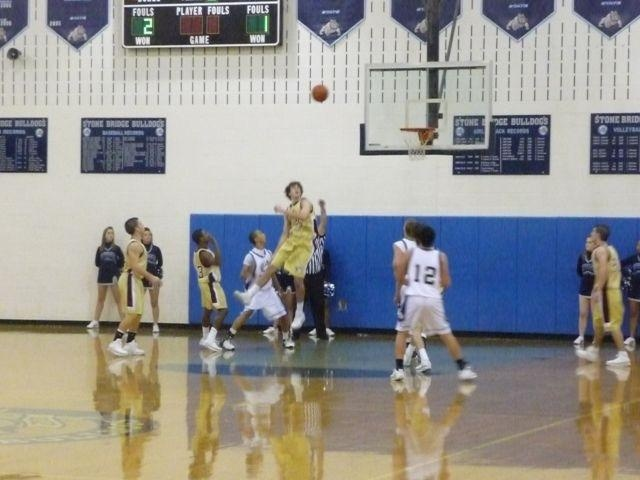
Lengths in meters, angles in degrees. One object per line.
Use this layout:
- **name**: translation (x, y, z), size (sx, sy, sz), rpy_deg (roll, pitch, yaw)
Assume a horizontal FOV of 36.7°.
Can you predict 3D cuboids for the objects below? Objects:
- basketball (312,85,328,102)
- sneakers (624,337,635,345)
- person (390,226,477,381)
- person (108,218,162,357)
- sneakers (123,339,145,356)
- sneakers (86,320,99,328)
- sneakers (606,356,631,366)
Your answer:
- **basketball**: translation (0.014, -2.402, 15.914), size (0.292, 0.294, 0.121), rpy_deg (-2, 8, -10)
- **sneakers**: translation (4.812, 1.572, 14.906), size (0.065, 0.098, 0.197), rpy_deg (-2, -5, 43)
- **person**: translation (1.462, 0.711, 12.488), size (1.134, 2.550, 0.673), rpy_deg (2, 31, 10)
- **person**: translation (-2.596, 0.664, 13.762), size (0.561, 1.975, 0.553), rpy_deg (2, -1, 14)
- **sneakers**: translation (-2.652, 1.559, 13.991), size (0.364, 0.309, 0.153), rpy_deg (2, 1, -10)
- **sneakers**: translation (-3.807, 1.418, 16.099), size (0.221, 0.136, 0.086), rpy_deg (-2, -4, 27)
- **sneakers**: translation (4.169, 1.663, 13.369), size (0.287, 0.159, 0.134), rpy_deg (0, -3, 10)
